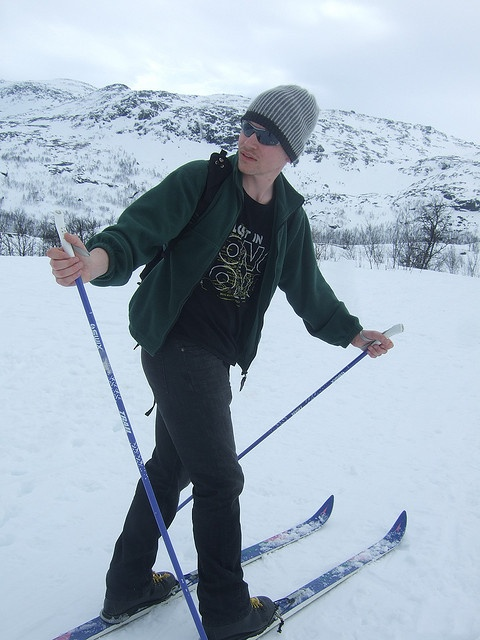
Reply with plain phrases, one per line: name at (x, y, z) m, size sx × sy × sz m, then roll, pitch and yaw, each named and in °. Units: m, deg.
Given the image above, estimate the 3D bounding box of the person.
person at (-0.111, 0.166, 2.143) m, size 0.769 × 2.086 × 1.102 m, roll 10°, pitch 14°, yaw 14°
